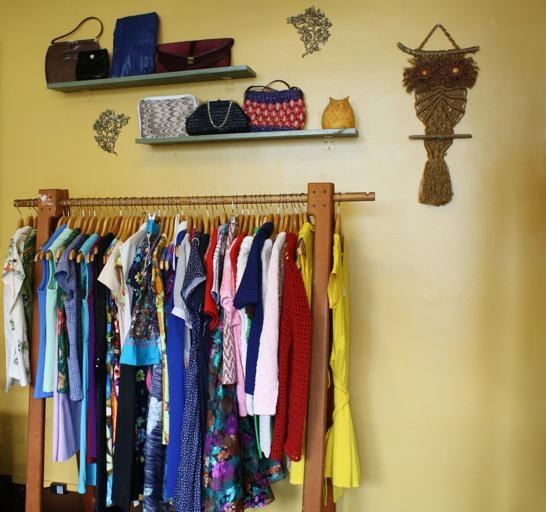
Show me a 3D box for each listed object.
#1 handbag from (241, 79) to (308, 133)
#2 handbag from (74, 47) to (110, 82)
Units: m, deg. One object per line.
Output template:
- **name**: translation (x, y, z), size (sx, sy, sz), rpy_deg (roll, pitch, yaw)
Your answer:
- **handbag**: translation (0.017, -0.726, 3.087), size (0.237, 0.259, 0.082), rpy_deg (0, 3, 7)
- **handbag**: translation (-0.949, -0.998, 3.299), size (0.161, 0.196, 0.070), rpy_deg (-1, -5, 12)
